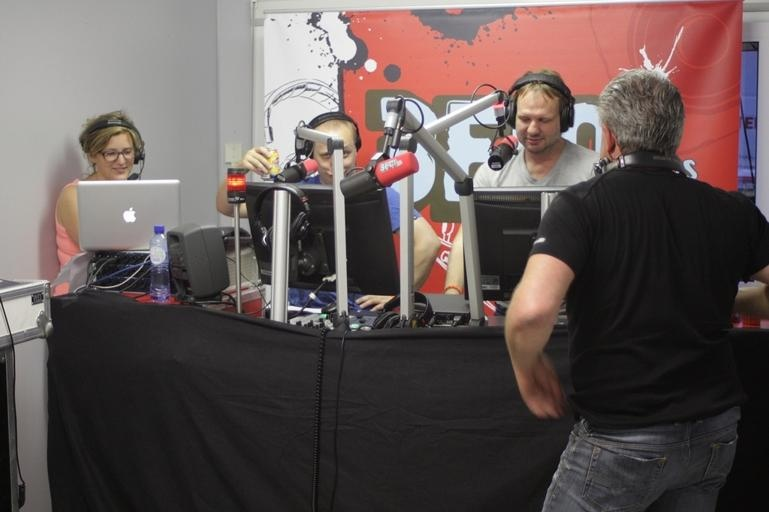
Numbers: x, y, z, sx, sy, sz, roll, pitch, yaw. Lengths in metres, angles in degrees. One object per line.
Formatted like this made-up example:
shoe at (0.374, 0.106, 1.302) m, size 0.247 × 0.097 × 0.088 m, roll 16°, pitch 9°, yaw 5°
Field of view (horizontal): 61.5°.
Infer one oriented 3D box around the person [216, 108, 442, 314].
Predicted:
person at (-0.203, -0.185, 2.949) m, size 0.955 × 0.659 × 0.506 m, roll 27°, pitch 30°, yaw 5°

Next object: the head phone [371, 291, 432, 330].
head phone at (0.086, 0.228, 2.531) m, size 0.119 × 0.066 × 0.176 m, roll -8°, pitch 16°, yaw 25°

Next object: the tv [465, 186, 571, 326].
tv at (0.477, -0.020, 2.314) m, size 0.495 × 0.518 × 0.169 m, roll 1°, pitch 13°, yaw 6°

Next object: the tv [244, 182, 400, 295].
tv at (-0.308, -0.065, 2.708) m, size 0.658 × 0.488 × 0.125 m, roll 3°, pitch 22°, yaw 12°

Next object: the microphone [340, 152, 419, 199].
microphone at (-0.016, -0.299, 2.346) m, size 0.261 × 0.108 × 0.137 m, roll -26°, pitch -29°, yaw 23°

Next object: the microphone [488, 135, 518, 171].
microphone at (0.553, -0.475, 2.986) m, size 0.117 × 0.088 × 0.267 m, roll 19°, pitch 23°, yaw 8°

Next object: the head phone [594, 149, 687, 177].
head phone at (0.791, -0.289, 1.988) m, size 0.137 × 0.052 × 0.124 m, roll -6°, pitch -2°, yaw 29°

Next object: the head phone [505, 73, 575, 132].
head phone at (0.764, -0.757, 3.215) m, size 0.347 × 0.318 × 0.132 m, roll -5°, pitch -2°, yaw 21°

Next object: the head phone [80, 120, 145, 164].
head phone at (-1.548, -0.681, 3.619) m, size 0.236 × 0.117 × 0.286 m, roll -5°, pitch -8°, yaw -15°

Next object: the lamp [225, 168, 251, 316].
lamp at (-0.615, -0.039, 2.718) m, size 0.124 × 0.647 × 0.129 m, roll 3°, pitch 12°, yaw -2°

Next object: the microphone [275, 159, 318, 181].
microphone at (-0.369, -0.352, 2.671) m, size 0.174 × 0.096 × 0.210 m, roll -4°, pitch 5°, yaw -10°

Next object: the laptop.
laptop at (-1.180, -0.198, 2.966) m, size 0.450 × 0.330 × 0.325 m, roll 0°, pitch 4°, yaw -8°

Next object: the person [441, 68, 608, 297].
person at (0.830, -0.343, 3.412) m, size 0.797 × 1.131 × 0.732 m, roll 8°, pitch 25°, yaw 32°
